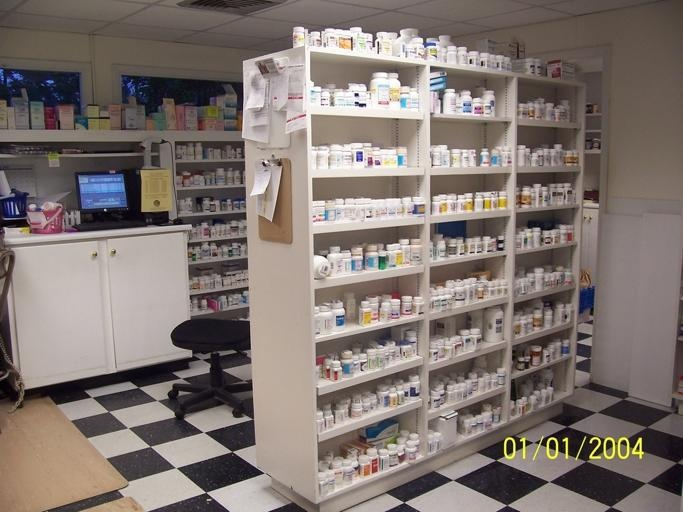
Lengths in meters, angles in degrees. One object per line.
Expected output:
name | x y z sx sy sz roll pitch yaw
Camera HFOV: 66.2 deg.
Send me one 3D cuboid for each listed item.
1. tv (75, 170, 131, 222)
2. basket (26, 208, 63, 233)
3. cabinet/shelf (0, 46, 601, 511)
tv | -2.331 -0.593 5.124 0.503 0.470 0.268 -10 16 -37
basket | -2.597 -0.310 4.600 0.276 0.183 0.265 -4 7 -29
cabinet/shelf | -0.367 0.226 3.951 3.902 3.236 1.196 -8 16 -35
